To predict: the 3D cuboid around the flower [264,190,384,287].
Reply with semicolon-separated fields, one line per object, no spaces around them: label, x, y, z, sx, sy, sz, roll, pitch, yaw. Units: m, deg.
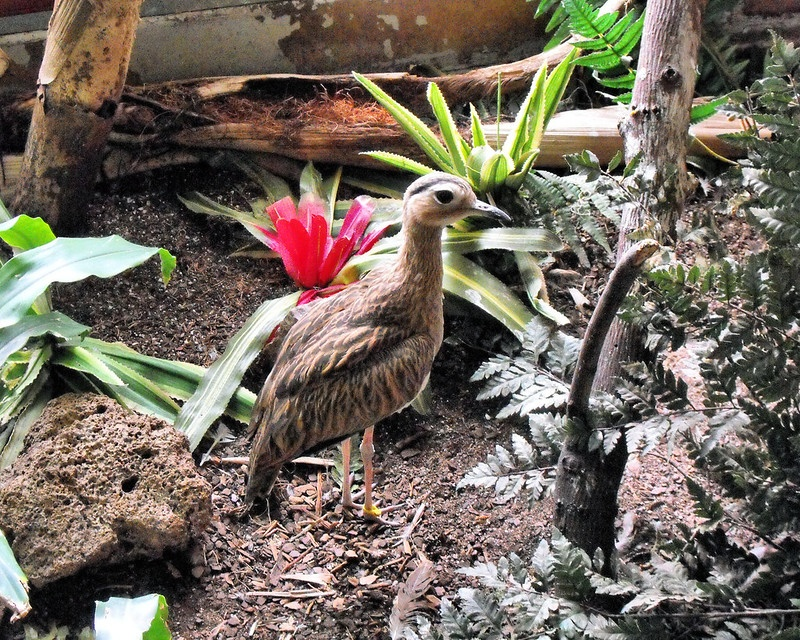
flower;-0.429;-0.358;5.042;0.759;0.384;0.747;-2;-14;-19
